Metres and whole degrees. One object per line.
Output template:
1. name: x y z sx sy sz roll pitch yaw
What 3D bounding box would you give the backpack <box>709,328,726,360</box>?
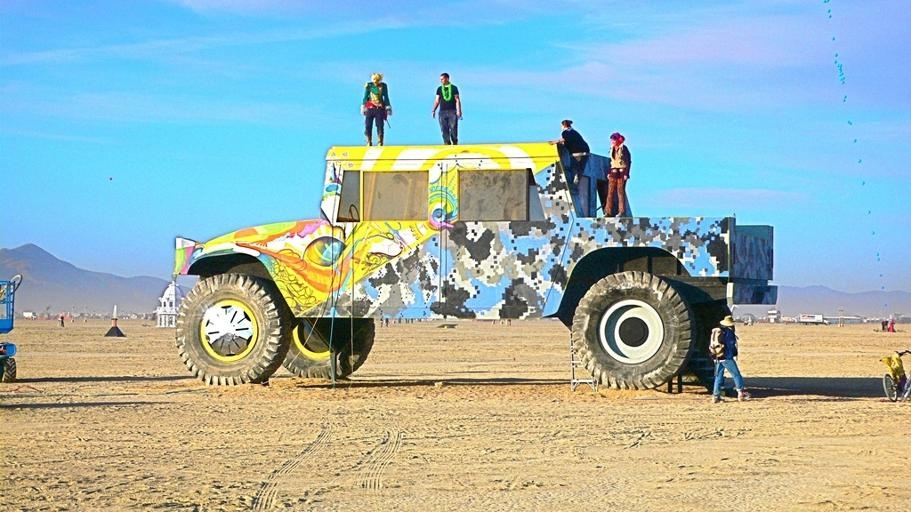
1. backpack: 6.490 2.213 29.511 0.203 0.820 0.434 2 -1 -35

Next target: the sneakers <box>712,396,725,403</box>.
1. sneakers: 6.498 3.603 29.296 0.207 0.147 0.519 0 -1 32

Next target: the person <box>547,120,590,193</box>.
1. person: 3.016 -2.729 30.427 0.884 1.702 0.794 4 7 31
